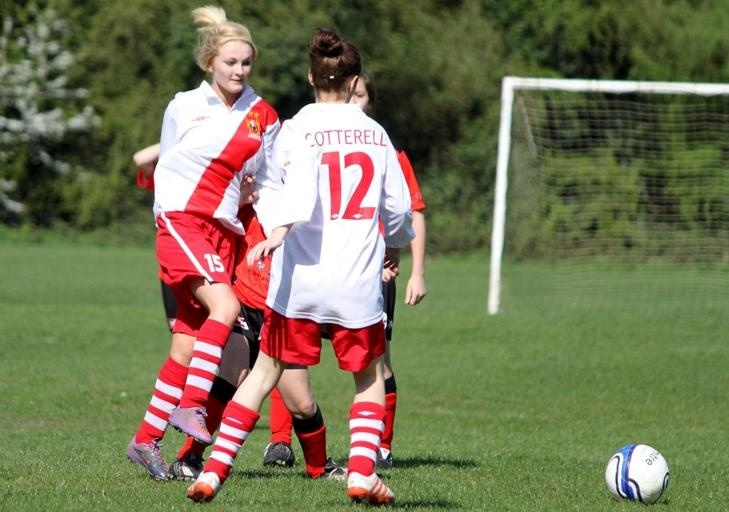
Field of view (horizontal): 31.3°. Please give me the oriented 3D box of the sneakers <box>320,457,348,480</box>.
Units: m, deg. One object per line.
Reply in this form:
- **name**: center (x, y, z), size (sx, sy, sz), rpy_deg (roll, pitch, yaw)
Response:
- **sneakers**: center (-0.343, 2.361, 14.458), size (0.289, 0.134, 0.165), rpy_deg (0, 2, 17)

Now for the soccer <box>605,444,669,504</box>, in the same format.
- **soccer**: center (2.993, 2.398, 14.431), size (0.573, 0.626, 0.596), rpy_deg (-1, -7, -2)
